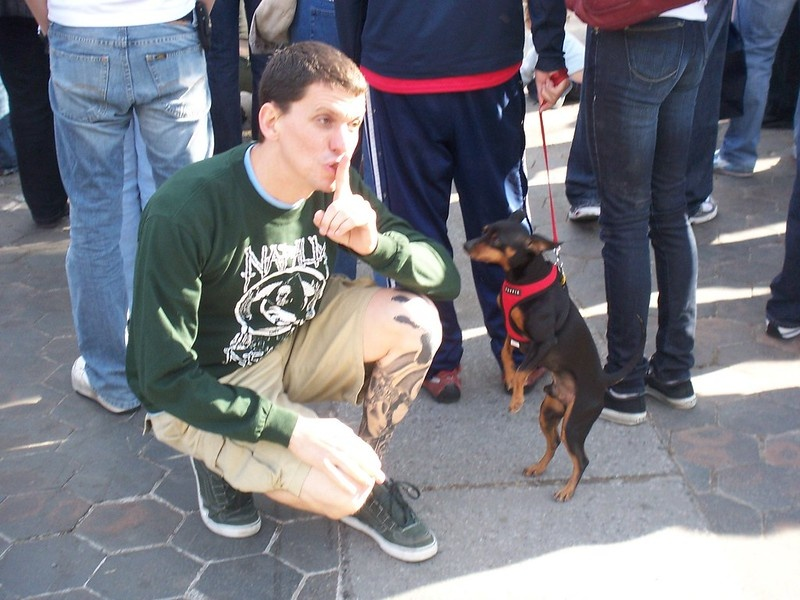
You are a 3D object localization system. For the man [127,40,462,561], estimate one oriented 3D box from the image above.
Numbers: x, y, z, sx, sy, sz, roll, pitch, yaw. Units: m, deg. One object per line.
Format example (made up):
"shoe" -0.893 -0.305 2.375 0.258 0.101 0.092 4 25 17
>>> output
"man" -0.437 0.031 2.927 1.329 2.107 1.318 15 24 21

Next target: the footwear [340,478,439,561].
"footwear" -0.017 0.928 2.982 0.469 0.221 0.194 29 48 24

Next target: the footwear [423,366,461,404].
"footwear" 0.227 0.436 3.693 0.098 0.122 0.255 -3 21 -10

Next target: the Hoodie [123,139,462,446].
"Hoodie" -0.626 -0.005 2.657 0.891 0.916 0.601 -21 33 -25

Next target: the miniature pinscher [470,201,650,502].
"miniature pinscher" 0.668 0.191 3.185 0.551 1.114 0.656 -28 36 -36
